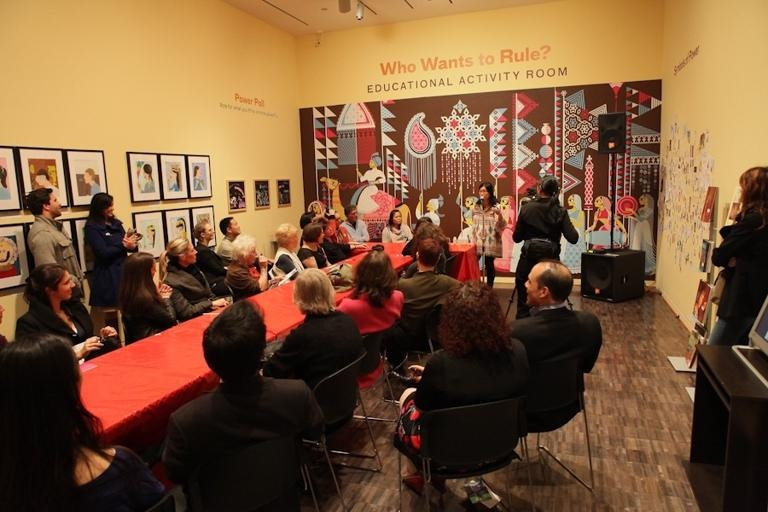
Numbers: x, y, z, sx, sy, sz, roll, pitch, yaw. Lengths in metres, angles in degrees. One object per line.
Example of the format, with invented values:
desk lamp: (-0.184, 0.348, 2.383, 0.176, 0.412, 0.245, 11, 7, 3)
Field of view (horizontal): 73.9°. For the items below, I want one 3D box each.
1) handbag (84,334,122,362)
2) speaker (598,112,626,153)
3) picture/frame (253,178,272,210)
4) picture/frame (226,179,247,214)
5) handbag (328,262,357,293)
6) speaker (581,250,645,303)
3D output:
handbag: (-2.143, 0.698, 3.877, 0.235, 0.091, 0.183, -23, 30, -1)
speaker: (3.256, -1.730, 7.283, 0.358, 0.557, 0.217, 3, 11, 22)
picture/frame: (-2.047, -1.023, 8.481, 0.019, 0.501, 0.474, 4, 9, 29)
picture/frame: (-2.316, -0.916, 7.922, 0.018, 0.467, 0.457, -1, 13, 23)
handbag: (-0.406, 0.205, 4.873, 0.235, 0.096, 0.240, -5, 24, -7)
speaker: (3.369, 0.273, 7.605, 0.866, 0.831, 0.618, -3, 3, -30)
